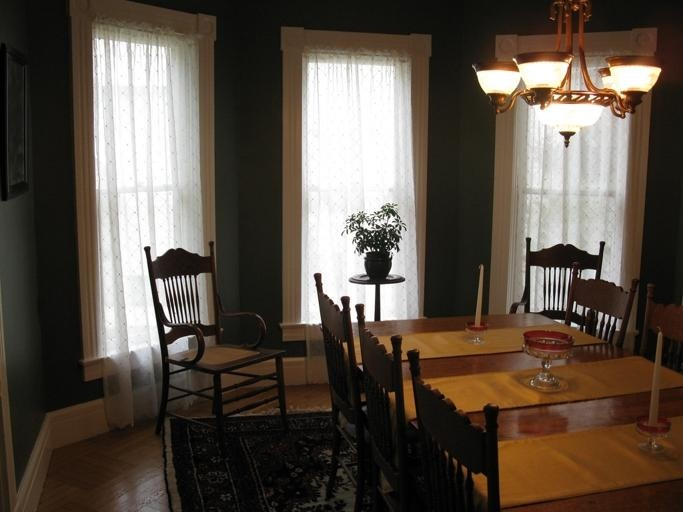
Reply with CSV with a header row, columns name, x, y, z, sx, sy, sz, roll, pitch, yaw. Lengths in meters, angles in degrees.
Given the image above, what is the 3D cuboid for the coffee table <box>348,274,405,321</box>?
name,x,y,z,sx,sy,sz,roll,pitch,yaw
coffee table,0.286,0.389,4.742,0.382,0.483,0.414,5,13,31

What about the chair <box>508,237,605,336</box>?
name,x,y,z,sx,sy,sz,roll,pitch,yaw
chair,1.614,0.225,4.620,0.638,1.194,0.732,3,-1,17

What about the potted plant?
name,x,y,z,sx,sy,sz,roll,pitch,yaw
potted plant,0.231,-0.131,4.707,0.460,0.548,0.548,-1,14,1
